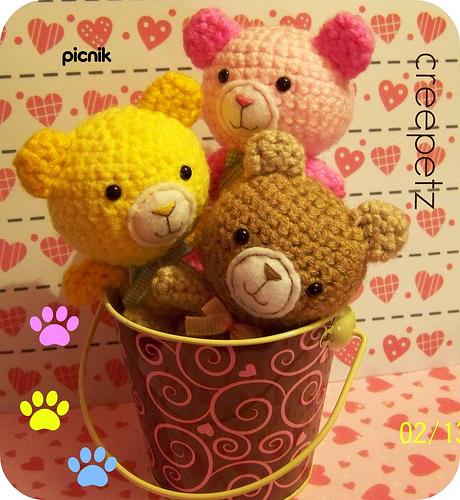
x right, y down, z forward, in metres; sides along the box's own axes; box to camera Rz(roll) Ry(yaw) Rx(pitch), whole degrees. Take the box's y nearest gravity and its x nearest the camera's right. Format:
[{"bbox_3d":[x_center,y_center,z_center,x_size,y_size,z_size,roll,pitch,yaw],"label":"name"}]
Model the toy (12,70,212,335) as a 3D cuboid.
[{"bbox_3d":[-0.160,-0.040,0.899,0.314,0.390,0.251,-23,38,-25],"label":"toy"}]
